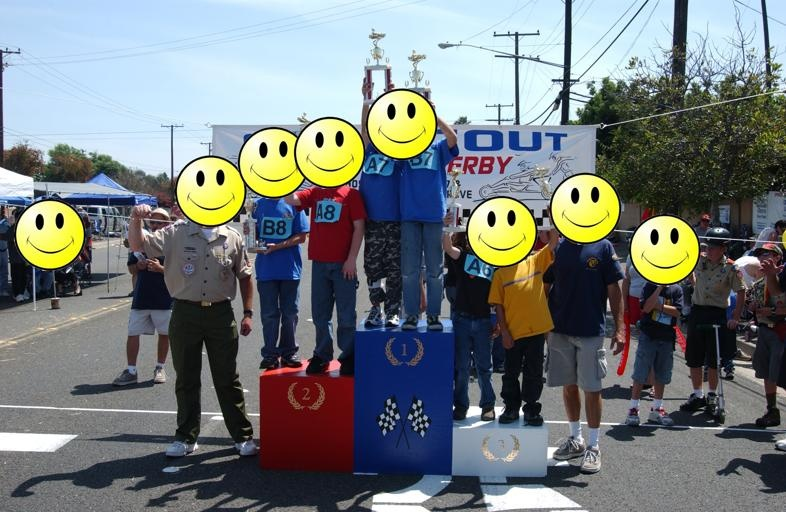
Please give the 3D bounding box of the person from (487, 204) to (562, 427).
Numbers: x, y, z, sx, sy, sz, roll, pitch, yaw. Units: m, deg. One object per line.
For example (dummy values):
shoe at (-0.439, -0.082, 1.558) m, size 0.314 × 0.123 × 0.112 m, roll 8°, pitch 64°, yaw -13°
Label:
person at (1.929, 0.891, 12.713) m, size 1.074 × 3.205 × 0.581 m, roll -1°, pitch -21°, yaw 7°

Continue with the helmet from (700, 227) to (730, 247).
helmet at (5.620, -0.331, 15.002) m, size 0.427 × 0.238 × 0.314 m, roll -6°, pitch 20°, yaw -2°

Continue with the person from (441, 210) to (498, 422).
person at (1.185, 0.919, 12.965) m, size 0.879 × 2.880 × 1.001 m, roll 1°, pitch 0°, yaw 7°

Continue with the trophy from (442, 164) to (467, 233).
trophy at (0.925, -0.856, 12.866) m, size 0.372 × 0.958 × 0.368 m, roll -5°, pitch 8°, yaw -1°

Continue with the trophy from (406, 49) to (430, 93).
trophy at (0.333, -2.668, 12.460) m, size 0.286 × 0.654 × 0.204 m, roll 0°, pitch 10°, yaw 0°

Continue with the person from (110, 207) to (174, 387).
person at (-4.215, 0.629, 14.784) m, size 1.145 × 3.044 × 0.890 m, roll 2°, pitch -7°, yaw -26°

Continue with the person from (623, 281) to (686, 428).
person at (4.299, 1.302, 13.939) m, size 0.721 × 2.811 × 0.743 m, roll 15°, pitch -13°, yaw -27°

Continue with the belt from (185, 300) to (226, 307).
belt at (-2.705, 0.673, 12.510) m, size 0.523 × 0.091 × 0.093 m, roll 1°, pitch 1°, yaw -17°

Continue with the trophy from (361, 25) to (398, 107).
trophy at (-0.230, -2.804, 12.690) m, size 0.488 × 1.104 × 0.188 m, roll -2°, pitch -2°, yaw 12°

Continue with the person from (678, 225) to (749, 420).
person at (5.258, 1.067, 14.256) m, size 0.941 × 3.108 × 0.963 m, roll 3°, pitch 0°, yaw 25°

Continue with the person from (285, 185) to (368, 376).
person at (-1.064, 0.066, 12.595) m, size 1.294 × 3.314 × 0.736 m, roll 1°, pitch -3°, yaw -14°

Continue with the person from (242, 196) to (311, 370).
person at (-1.734, 0.310, 12.991) m, size 0.944 × 2.731 × 0.820 m, roll -3°, pitch -13°, yaw 0°
